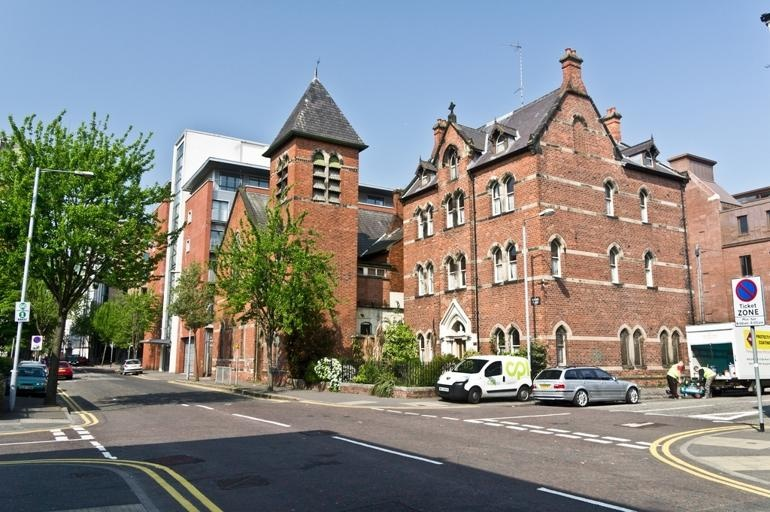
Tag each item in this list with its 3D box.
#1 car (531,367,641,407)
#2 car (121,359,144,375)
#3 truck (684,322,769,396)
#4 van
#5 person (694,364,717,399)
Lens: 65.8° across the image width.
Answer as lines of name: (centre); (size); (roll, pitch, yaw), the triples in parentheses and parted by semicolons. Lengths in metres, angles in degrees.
car: (9.736, 6.234, 28.973); (4.867, 1.477, 2.116); (2, -9, -23)
car: (-27.648, 12.048, 65.193); (1.411, 1.123, 2.388); (2, -3, -30)
truck: (19.290, 5.744, 33.786); (3.844, 3.871, 5.755); (-12, -19, 40)
van: (4.894, 6.219, 30.272); (4.038, 1.761, 2.356); (8, -14, -26)
person: (17.221, 6.650, 32.140); (0.669, 2.049, 0.992); (-2, 5, 40)
